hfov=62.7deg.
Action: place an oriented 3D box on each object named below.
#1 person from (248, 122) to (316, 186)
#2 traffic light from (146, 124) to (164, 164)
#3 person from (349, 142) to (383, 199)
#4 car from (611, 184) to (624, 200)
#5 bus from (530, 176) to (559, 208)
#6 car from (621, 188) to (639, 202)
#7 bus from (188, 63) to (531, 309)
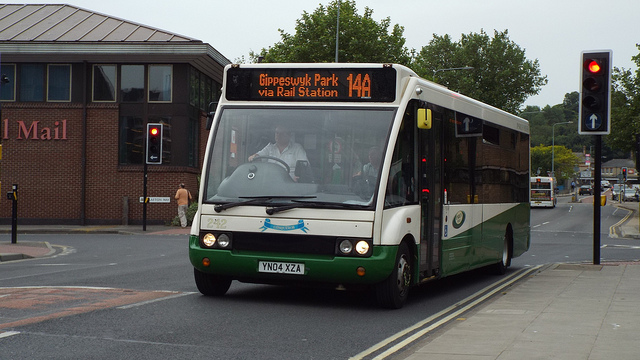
[{"bbox_3d":[-0.652,-0.550,10.349,1.066,1.139,0.293,2,2,19],"label":"person"},{"bbox_3d":[-8.469,-1.835,26.810,0.657,1.932,0.479,1,2,-18],"label":"traffic light"},{"bbox_3d":[0.897,-0.168,10.073,0.599,1.058,0.238,2,2,3],"label":"person"},{"bbox_3d":[49.165,1.986,86.847,2.577,2.142,4.364,-2,-7,20],"label":"car"},{"bbox_3d":[27.872,1.599,65.754,2.551,3.808,4.071,3,2,26],"label":"bus"},{"bbox_3d":[53.094,2.552,89.589,1.665,1.982,6.073,3,2,38],"label":"car"},{"bbox_3d":[2.467,0.149,15.404,4.441,4.833,13.036,1,0,32],"label":"bus"}]
